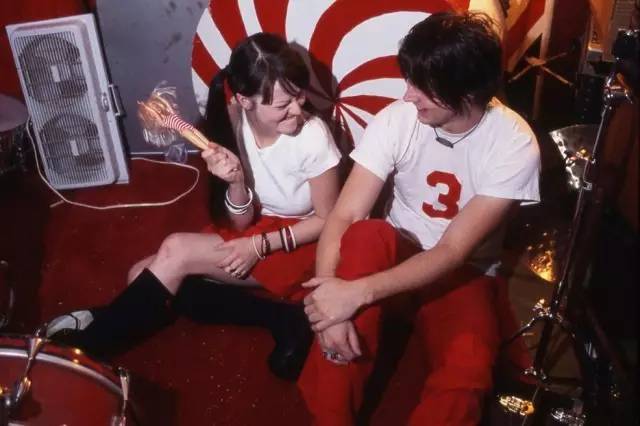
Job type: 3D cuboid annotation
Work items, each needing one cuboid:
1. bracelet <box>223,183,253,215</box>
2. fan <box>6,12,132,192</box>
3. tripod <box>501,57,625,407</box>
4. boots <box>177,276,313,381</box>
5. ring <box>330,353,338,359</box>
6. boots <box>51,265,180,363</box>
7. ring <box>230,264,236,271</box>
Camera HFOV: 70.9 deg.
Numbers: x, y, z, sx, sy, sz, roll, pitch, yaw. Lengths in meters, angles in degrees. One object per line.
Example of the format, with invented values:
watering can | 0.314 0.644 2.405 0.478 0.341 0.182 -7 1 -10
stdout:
bracelet | -0.380 -0.061 2.087 0.119 0.087 0.127 2 63 -6
fan | -1.415 -0.684 2.735 0.636 0.934 0.217 -8 23 2
tripod | 0.908 0.118 1.716 0.213 1.359 0.426 12 19 26
boots | -0.325 0.485 2.137 0.593 0.406 0.180 35 1 7
ring | 0.048 0.518 1.645 0.017 0.023 0.008 17 11 0
boots | -0.879 0.395 2.042 0.630 0.463 0.259 8 11 -26
ring | -0.395 0.254 2.041 0.023 0.039 0.019 2 17 -7
